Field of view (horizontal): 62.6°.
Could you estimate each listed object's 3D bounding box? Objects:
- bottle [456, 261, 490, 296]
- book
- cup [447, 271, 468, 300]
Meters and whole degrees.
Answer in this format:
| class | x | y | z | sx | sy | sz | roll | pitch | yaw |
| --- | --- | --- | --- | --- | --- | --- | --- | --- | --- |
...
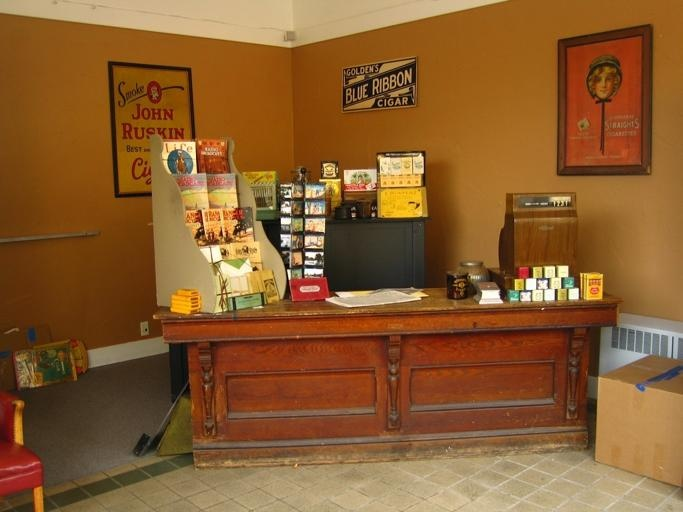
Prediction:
| class | x | y | z | sx | sy | sz | roll | pitch | yaw |
| --- | --- | --- | --- | --- | --- | --- | --- | --- | --- |
| bottle | 1.013 | 0.172 | 4.280 | 0.241 | 0.207 | 0.238 | 0 | 2 | -8 |
| book | -0.947 | -0.261 | 4.078 | 0.822 | 1.211 | 0.648 | -10 | 14 | -29 |
| cup | 0.855 | 0.217 | 4.240 | 0.187 | 0.187 | 0.187 | -1 | 8 | 0 |
